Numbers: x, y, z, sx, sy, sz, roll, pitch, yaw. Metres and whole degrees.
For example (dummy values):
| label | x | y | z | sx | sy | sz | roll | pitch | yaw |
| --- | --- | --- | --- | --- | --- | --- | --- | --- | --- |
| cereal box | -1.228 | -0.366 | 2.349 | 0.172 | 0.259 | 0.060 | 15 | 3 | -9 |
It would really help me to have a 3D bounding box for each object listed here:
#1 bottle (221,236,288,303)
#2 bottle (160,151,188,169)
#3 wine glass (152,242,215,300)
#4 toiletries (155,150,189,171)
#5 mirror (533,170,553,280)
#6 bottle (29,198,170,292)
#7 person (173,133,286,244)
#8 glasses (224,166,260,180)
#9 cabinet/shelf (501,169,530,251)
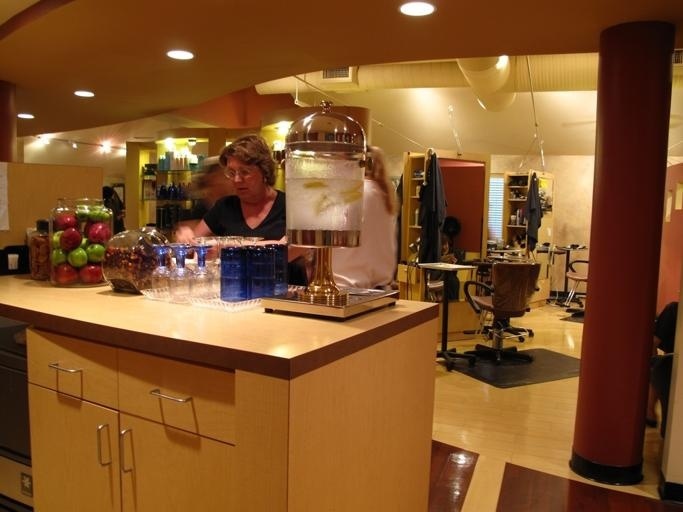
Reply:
| label | x | y | z | sx | sy | sz | roll | pitch | yaw |
| --- | --- | --- | --- | --- | --- | --- | --- | --- | --- |
| bottle | -0.358 | 0.059 | 2.238 | 0.292 | 0.304 | 0.173 | -1 | 1 | 13 |
| bottle | -2.519 | -1.432 | 8.228 | 0.264 | 0.188 | 0.355 | -3 | 7 | -42 |
| wine glass | -0.672 | 0.069 | 2.395 | 0.240 | 0.236 | 0.252 | 1 | 9 | -2 |
| toiletries | -2.517 | -1.435 | 8.219 | 0.276 | 0.208 | 0.389 | 3 | 5 | 17 |
| mirror | 3.675 | -0.528 | 9.922 | 0.354 | 2.009 | 1.279 | 3 | 8 | 21 |
| bottle | -1.167 | -0.073 | 2.710 | 0.639 | 0.343 | 0.388 | 5 | 4 | 22 |
| person | -0.618 | -0.357 | 3.444 | 0.862 | 0.752 | 0.567 | 2 | 3 | 41 |
| glasses | -0.594 | -0.488 | 3.205 | 0.213 | 0.066 | 0.084 | 6 | 10 | 32 |
| cabinet/shelf | 3.087 | -0.839 | 9.775 | 0.430 | 1.300 | 0.594 | 3 | 8 | 20 |
